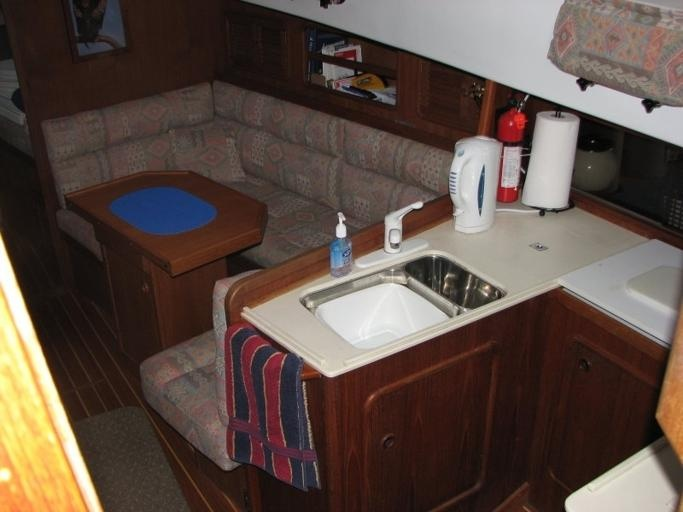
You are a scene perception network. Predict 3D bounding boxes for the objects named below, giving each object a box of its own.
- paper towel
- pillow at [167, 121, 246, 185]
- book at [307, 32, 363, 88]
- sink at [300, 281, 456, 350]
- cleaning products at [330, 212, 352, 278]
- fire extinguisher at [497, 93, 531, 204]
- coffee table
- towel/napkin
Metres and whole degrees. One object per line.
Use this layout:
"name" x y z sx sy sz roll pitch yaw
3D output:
"paper towel" 0.811 -0.354 2.115 0.119 0.399 0.181 -5 27 -20
"pillow" -0.936 -0.695 3.699 0.432 0.432 0.390 -16 33 -35
"book" -0.057 -1.213 3.345 0.278 0.321 0.151 21 32 39
"sink" 0.109 0.194 1.752 0.291 0.098 0.255 -8 22 -33
"cleaning products" 0.007 -0.069 1.838 0.078 0.227 0.190 5 32 5
"fire extinguisher" 0.688 -0.435 2.182 0.100 0.444 0.123 -9 31 -6
"coffee table" -0.875 0.109 2.928 0.982 0.861 0.678 27 39 32
"towel/napkin" -0.229 0.470 1.659 0.333 0.492 0.100 18 28 31
